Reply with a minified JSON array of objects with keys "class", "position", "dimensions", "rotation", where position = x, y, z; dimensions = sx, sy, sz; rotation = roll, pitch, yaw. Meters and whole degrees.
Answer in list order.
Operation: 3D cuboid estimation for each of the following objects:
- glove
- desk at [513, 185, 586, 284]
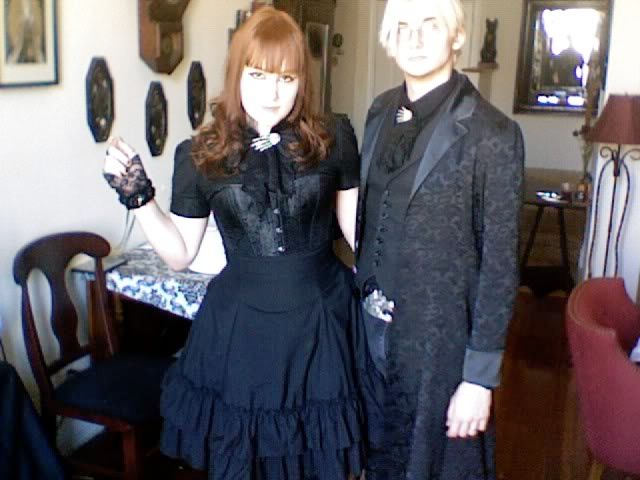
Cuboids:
[{"class":"glove","position":[-0.517,-0.165,1.488],"dimensions":[0.115,0.158,0.039],"rotation":[-26,8,-2]},{"class":"desk","position":[2.181,0.026,5.306],"dimensions":[0.662,0.777,0.686],"rotation":[6,6,14]}]
